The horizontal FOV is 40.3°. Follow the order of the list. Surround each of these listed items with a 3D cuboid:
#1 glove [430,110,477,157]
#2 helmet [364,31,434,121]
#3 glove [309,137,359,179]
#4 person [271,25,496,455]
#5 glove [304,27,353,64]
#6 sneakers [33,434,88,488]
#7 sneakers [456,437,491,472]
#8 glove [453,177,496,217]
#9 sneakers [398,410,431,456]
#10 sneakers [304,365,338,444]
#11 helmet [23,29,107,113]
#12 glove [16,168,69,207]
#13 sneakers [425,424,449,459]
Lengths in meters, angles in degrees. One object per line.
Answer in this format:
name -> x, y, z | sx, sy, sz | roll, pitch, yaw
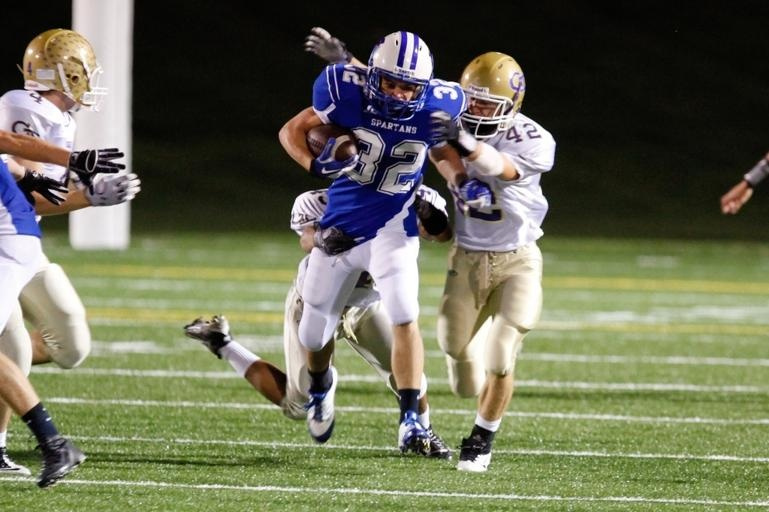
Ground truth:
glove -> 0.325, -0.594, 5.084 | 0.319, 0.125, 0.085 | 31, 15, -43
helmet -> 0.063, -0.888, 5.123 | 0.317, 0.356, 0.403 | 10, 41, -10
glove -> -0.232, -0.460, 4.994 | 0.150, 0.112, 0.241 | 24, 31, 19
person -> -0.067, -0.061, 5.242 | 0.983, 2.069, 0.703 | 11, 18, 16
glove -> -0.274, -1.066, 5.357 | 0.312, 0.129, 0.090 | 29, 4, -8
sneakers -> -1.444, 0.933, 4.687 | 0.192, 0.271, 0.109 | 0, 19, -18
sneakers -> 0.448, 0.951, 5.142 | 0.152, 0.151, 0.263 | 9, 18, 9
glove -> 0.452, -0.302, 5.223 | 0.167, 0.213, 0.078 | -20, 41, 5
sneakers -> 0.147, 0.865, 5.105 | 0.164, 0.200, 0.106 | 10, 18, 14
sneakers -> -0.313, 0.742, 5.349 | 0.132, 0.394, 0.162 | -2, -2, 21
helmet -> -1.621, -0.954, 5.357 | 0.461, 0.408, 0.348 | -4, 12, -23
glove -> -1.622, -0.326, 4.974 | 0.202, 0.137, 0.070 | 15, -19, -6
sneakers -> 0.228, 0.920, 5.237 | 0.068, 0.085, 0.193 | -25, 44, -33
